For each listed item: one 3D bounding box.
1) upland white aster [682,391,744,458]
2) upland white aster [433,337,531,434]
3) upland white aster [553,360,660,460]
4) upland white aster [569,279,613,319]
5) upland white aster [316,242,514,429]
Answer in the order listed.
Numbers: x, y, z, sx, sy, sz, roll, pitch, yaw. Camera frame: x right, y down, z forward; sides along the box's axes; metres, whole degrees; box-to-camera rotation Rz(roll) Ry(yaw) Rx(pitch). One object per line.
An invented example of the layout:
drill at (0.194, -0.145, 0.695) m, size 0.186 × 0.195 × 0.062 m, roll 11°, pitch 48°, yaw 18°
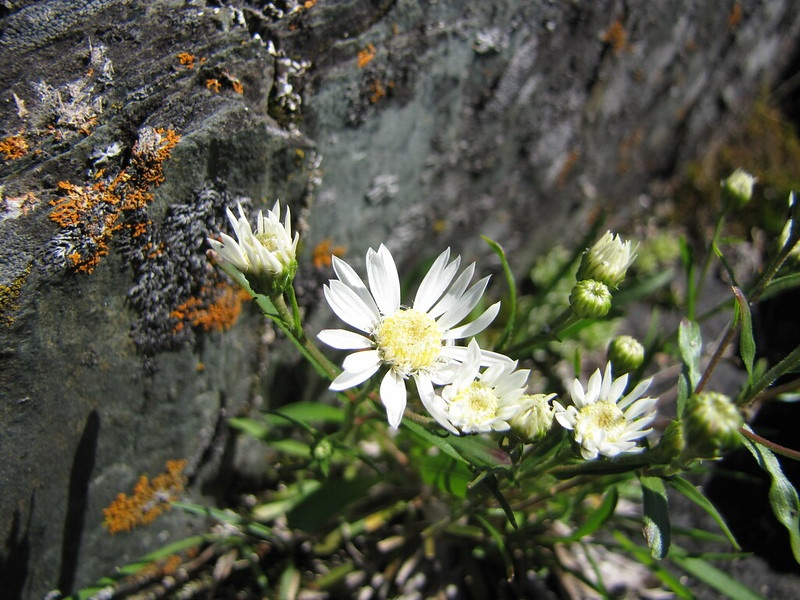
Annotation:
upland white aster at (0.719, 0.283, 1.602) m, size 0.121 × 0.111 × 0.113 m, roll -3°, pitch 42°, yaw 18°
upland white aster at (0.202, 0.215, 1.698) m, size 0.224 × 0.134 × 0.235 m, roll -3°, pitch 61°, yaw -7°
upland white aster at (0.484, 0.271, 1.745) m, size 0.235 × 0.113 × 0.225 m, roll -22°, pitch 13°, yaw -29°
upland white aster at (0.484, -0.007, 1.775) m, size 0.099 × 0.080 × 0.085 m, roll -8°, pitch 40°, yaw 13°
upland white aster at (0.031, 0.068, 1.770) m, size 0.441 × 0.191 × 0.484 m, roll 36°, pitch 54°, yaw 21°
